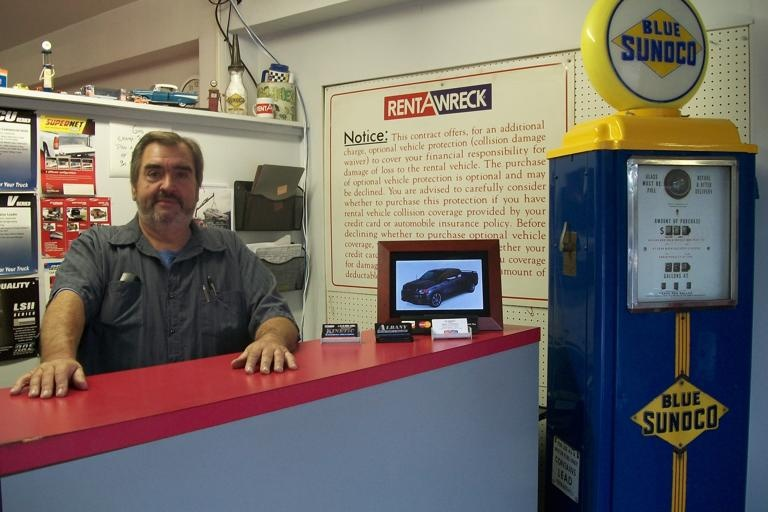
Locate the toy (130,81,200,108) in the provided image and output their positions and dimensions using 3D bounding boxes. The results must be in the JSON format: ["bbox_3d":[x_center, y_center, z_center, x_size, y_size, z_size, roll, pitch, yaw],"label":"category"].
[{"bbox_3d":[-1.334,-0.954,3.702,0.321,0.115,0.175,-6,25,-29],"label":"toy"}]

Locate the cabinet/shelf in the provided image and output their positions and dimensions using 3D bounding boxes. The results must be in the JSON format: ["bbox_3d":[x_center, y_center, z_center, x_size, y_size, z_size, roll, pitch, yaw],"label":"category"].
[{"bbox_3d":[-0.729,-0.097,4.173,0.458,0.809,0.310,0,-15,17],"label":"cabinet/shelf"}]

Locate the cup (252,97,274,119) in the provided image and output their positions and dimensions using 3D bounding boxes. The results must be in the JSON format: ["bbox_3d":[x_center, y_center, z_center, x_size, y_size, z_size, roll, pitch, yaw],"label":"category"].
[{"bbox_3d":[-0.816,-0.990,4.078,0.136,0.143,0.133,0,4,0],"label":"cup"}]

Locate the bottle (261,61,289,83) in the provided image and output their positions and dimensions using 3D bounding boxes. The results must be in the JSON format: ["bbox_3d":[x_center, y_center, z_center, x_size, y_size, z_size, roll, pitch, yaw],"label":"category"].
[{"bbox_3d":[-0.727,-1.233,4.129,0.168,0.159,0.130,12,27,1],"label":"bottle"}]
